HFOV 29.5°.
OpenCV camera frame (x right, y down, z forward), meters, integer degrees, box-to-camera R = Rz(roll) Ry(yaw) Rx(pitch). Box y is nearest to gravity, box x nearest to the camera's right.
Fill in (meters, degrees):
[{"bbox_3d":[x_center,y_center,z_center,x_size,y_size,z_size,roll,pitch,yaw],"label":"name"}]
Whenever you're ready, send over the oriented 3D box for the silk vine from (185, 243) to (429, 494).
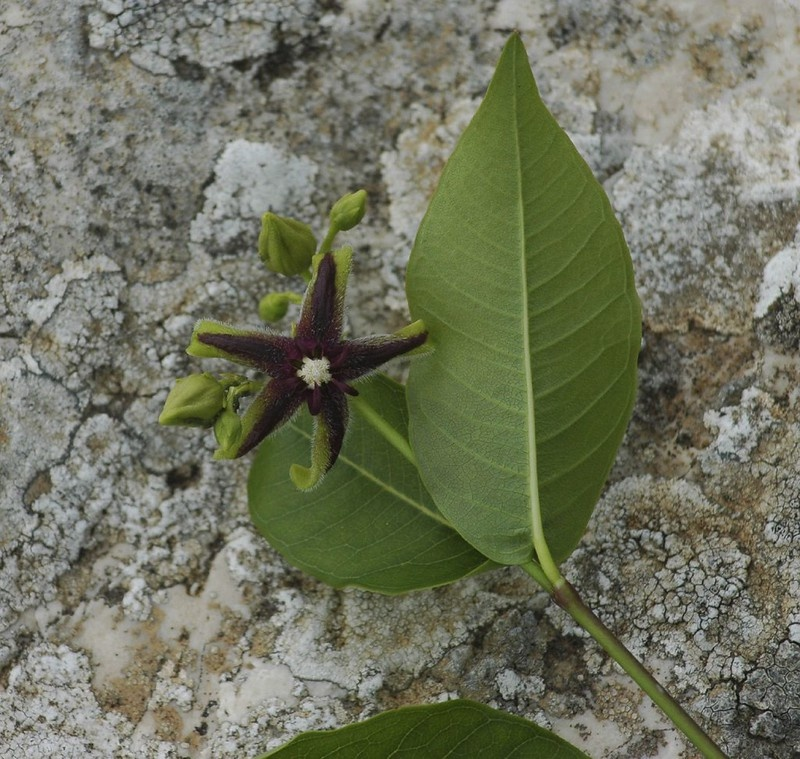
[{"bbox_3d":[-0.190,-0.028,3.241,0.627,0.673,0.216,-15,65,4],"label":"silk vine"}]
